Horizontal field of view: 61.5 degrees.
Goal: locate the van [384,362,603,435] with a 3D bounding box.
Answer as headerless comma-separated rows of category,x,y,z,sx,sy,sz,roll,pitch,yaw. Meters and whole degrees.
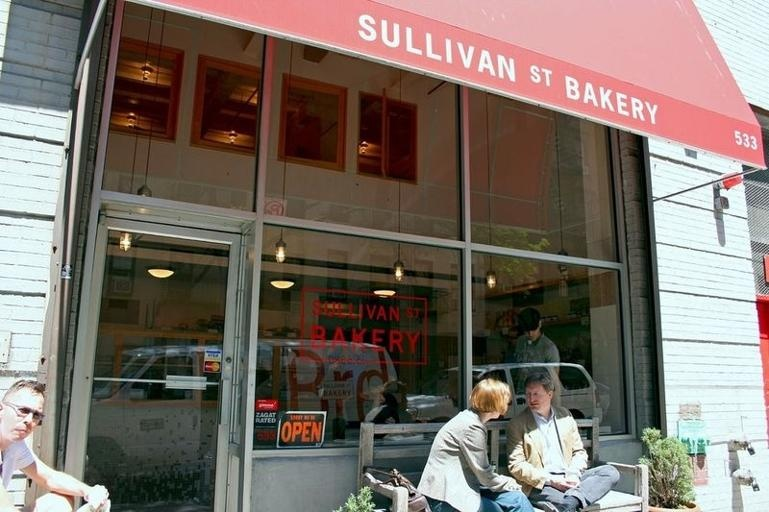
van,1.369,1.805,8.151,2.134,0.797,1.034,7,-17,-17

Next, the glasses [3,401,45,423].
glasses,-2.979,1.298,5.339,0.268,0.146,0.097,11,-18,-36
